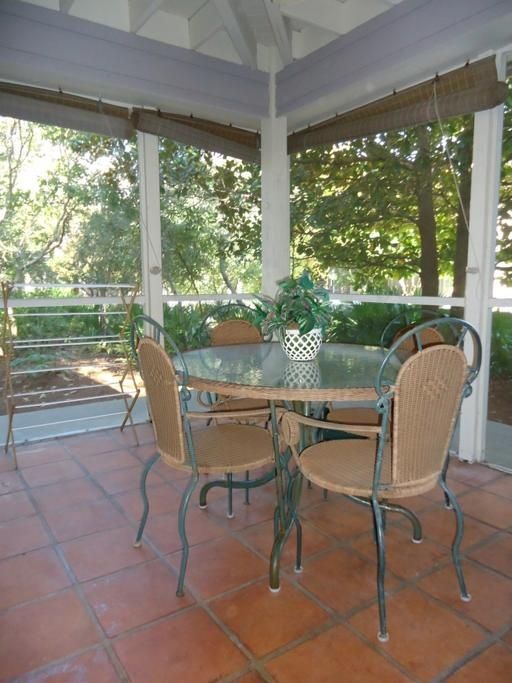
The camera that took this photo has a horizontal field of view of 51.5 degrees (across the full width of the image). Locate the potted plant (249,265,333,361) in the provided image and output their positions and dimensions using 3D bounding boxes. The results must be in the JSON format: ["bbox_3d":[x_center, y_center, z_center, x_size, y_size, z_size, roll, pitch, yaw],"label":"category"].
[{"bbox_3d":[0.165,-0.091,2.194,0.291,0.328,0.365,-6,-1,39],"label":"potted plant"}]

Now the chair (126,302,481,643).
[{"bbox_3d":[0.198,0.531,2.033,0.889,1.380,0.890,-9,17,-39],"label":"chair"}]
